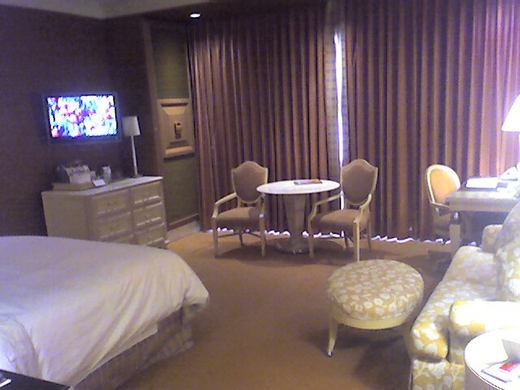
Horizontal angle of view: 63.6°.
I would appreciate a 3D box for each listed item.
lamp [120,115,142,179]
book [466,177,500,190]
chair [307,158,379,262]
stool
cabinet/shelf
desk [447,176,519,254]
[{"bbox_3d":[-1.739,-0.663,5.729,0.238,0.812,0.463,-7,16,-16],"label":"lamp"},{"bbox_3d":[2.273,-0.123,4.273,0.233,0.092,0.208,2,12,37],"label":"book"},{"bbox_3d":[1.016,0.153,4.945,0.721,1.100,0.634,-11,14,-43],"label":"chair"},{"bbox_3d":[0.894,0.865,3.281,0.748,0.541,0.729,-21,21,-31],"label":"stool"},{"bbox_3d":[-1.882,0.342,5.373,0.704,0.985,1.286,3,11,24],"label":"cabinet/shelf"},{"bbox_3d":[2.097,0.074,3.989,0.612,0.473,0.856,-2,10,10],"label":"desk"}]
